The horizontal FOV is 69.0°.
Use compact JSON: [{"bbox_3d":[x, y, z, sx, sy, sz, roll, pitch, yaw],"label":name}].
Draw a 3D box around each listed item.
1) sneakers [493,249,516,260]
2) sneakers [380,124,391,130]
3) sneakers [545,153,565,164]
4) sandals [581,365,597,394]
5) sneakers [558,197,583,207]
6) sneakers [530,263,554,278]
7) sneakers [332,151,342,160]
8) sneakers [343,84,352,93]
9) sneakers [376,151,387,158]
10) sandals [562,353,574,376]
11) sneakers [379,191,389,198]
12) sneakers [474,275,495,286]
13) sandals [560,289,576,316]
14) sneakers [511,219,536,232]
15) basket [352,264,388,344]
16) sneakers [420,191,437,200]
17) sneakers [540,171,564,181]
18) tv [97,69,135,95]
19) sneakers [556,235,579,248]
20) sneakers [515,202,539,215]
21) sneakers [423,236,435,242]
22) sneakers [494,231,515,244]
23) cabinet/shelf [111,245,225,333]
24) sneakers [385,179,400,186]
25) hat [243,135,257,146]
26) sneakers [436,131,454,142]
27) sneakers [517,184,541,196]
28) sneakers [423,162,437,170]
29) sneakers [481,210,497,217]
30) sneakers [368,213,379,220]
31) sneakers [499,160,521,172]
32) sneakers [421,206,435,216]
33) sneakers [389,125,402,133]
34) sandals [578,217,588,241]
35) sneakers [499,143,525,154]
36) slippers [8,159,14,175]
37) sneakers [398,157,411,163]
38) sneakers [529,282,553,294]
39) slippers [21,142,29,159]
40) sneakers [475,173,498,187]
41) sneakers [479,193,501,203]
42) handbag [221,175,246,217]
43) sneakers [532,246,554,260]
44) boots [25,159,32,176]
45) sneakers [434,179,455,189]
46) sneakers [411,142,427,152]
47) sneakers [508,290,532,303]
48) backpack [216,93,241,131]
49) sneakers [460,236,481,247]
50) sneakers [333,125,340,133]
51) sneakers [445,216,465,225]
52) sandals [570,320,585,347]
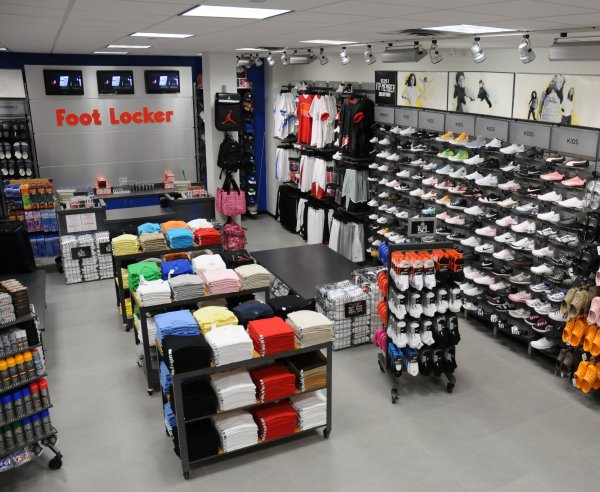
[{"bbox_3d":[3.046,0.129,6.520,0.118,0.110,0.227,-5,12,-27],"label":"sneakers"},{"bbox_3d":[1.663,-2.342,8.604,0.133,0.069,0.180,-2,13,-13],"label":"sneakers"},{"bbox_3d":[3.317,-1.150,5.725,0.106,0.085,0.197,-1,5,-4],"label":"sneakers"},{"bbox_3d":[3.444,1.583,5.194,0.134,0.376,0.142,12,10,41],"label":"sandals"},{"bbox_3d":[3.476,-0.553,5.578,0.132,0.137,0.314,-9,17,-24],"label":"sneakers"},{"bbox_3d":[3.304,0.333,5.988,0.240,0.112,0.133,2,9,3],"label":"sneakers"},{"bbox_3d":[0.781,-1.928,9.378,0.172,0.208,0.338,-2,16,0],"label":"sneakers"},{"bbox_3d":[0.983,-3.332,9.214,0.190,0.210,0.211,3,13,1],"label":"sneakers"},{"bbox_3d":[1.617,-1.823,8.647,0.109,0.097,0.201,-13,21,-33],"label":"sneakers"},{"bbox_3d":[3.356,1.477,5.479,0.116,0.290,0.093,7,2,-26],"label":"sandals"},{"bbox_3d":[1.630,-1.024,8.648,0.182,0.082,0.099,-5,6,-42],"label":"sneakers"},{"bbox_3d":[2.873,0.528,6.830,0.242,0.111,0.140,4,14,6],"label":"sneakers"},{"bbox_3d":[3.256,0.674,5.324,0.136,0.359,0.115,4,6,-44],"label":"sandals"},{"bbox_3d":[3.181,-0.291,6.203,0.140,0.121,0.268,-8,15,-27],"label":"sneakers"},{"bbox_3d":[0.971,0.873,6.155,0.552,1.013,1.033,-2,12,-4],"label":"basket"},{"bbox_3d":[2.291,-0.911,7.793,0.255,0.133,0.122,1,11,6],"label":"sneakers"},{"bbox_3d":[3.323,-0.918,5.775,0.270,0.132,0.159,6,17,28],"label":"sneakers"},{"bbox_3d":[-4.147,-3.672,9.786,0.744,0.525,0.152,-13,18,-33],"label":"tv"},{"bbox_3d":[3.456,-0.060,5.666,0.111,0.109,0.243,-7,17,-28],"label":"sneakers"},{"bbox_3d":[3.194,-0.536,6.218,0.117,0.155,0.322,-8,14,-31],"label":"sneakers"},{"bbox_3d":[1.598,-0.090,5.448,0.162,0.076,0.056,-1,13,-15],"label":"sneakers"},{"bbox_3d":[3.027,-0.126,6.490,0.240,0.116,0.135,-1,16,-8],"label":"sneakers"},{"bbox_3d":[-1.721,0.543,5.688,1.122,1.035,0.385,-8,18,-26],"label":"cabinet/shelf"},{"bbox_3d":[1.796,-1.237,8.545,0.112,0.098,0.188,-4,9,-30],"label":"sneakers"},{"bbox_3d":[-1.467,-2.960,12.284,0.491,0.335,0.281,0,5,-4],"label":"hat"},{"bbox_3d":[2.425,-1.835,7.329,0.143,0.109,0.248,-8,16,-30],"label":"sneakers"},{"bbox_3d":[3.217,-0.789,6.160,0.127,0.107,0.238,-9,18,-29],"label":"sneakers"},{"bbox_3d":[2.284,-1.414,7.733,0.226,0.104,0.098,2,13,2],"label":"sneakers"},{"bbox_3d":[2.902,-0.504,6.744,0.071,0.095,0.216,-4,16,-21],"label":"sneakers"},{"bbox_3d":[1.481,-0.607,8.932,0.131,0.091,0.116,-5,15,-20],"label":"sneakers"},{"bbox_3d":[3.068,-1.155,6.375,0.234,0.108,0.119,2,8,16],"label":"sneakers"},{"bbox_3d":[2.284,-0.628,7.820,0.108,0.131,0.273,-8,16,-35],"label":"sneakers"},{"bbox_3d":[1.825,-2.216,8.314,0.113,0.100,0.226,2,2,20],"label":"sneakers"},{"bbox_3d":[3.428,-0.195,5.289,0.075,0.237,0.090,-2,-19,34],"label":"sandals"},{"bbox_3d":[3.032,-1.389,6.254,0.225,0.103,0.117,9,16,33],"label":"sneakers"},{"bbox_3d":[-6.014,-1.638,9.084,0.140,0.278,0.093,-6,3,-23],"label":"slippers"},{"bbox_3d":[1.971,-1.636,8.288,0.131,0.065,0.192,-4,15,-12],"label":"sneakers"},{"bbox_3d":[3.310,0.592,6.028,0.176,0.135,0.248,-7,16,-16],"label":"sneakers"},{"bbox_3d":[-5.761,-1.997,9.120,0.118,0.324,0.122,-4,4,-24],"label":"slippers"},{"bbox_3d":[2.843,-1.009,6.692,0.156,0.132,0.273,-14,19,-39],"label":"sneakers"},{"bbox_3d":[2.879,-0.748,6.720,0.127,0.156,0.318,-10,18,-41],"label":"sneakers"},{"bbox_3d":[-1.554,-1.150,9.959,0.543,0.887,0.611,-7,-3,-24],"label":"handbag"},{"bbox_3d":[3.303,0.089,5.955,0.199,0.104,0.112,4,12,17],"label":"sneakers"},{"bbox_3d":[-5.752,-1.671,9.258,0.092,0.322,0.130,-8,7,-33],"label":"boots"},{"bbox_3d":[2.459,-1.060,7.509,0.121,0.152,0.318,-4,14,-21],"label":"sneakers"},{"bbox_3d":[2.133,-1.802,7.914,0.109,0.137,0.307,-7,16,-26],"label":"sneakers"},{"bbox_3d":[3.148,0.732,6.295,0.249,0.115,0.139,-2,14,-8],"label":"sneakers"},{"bbox_3d":[-1.510,-2.823,9.562,0.623,0.947,0.477,-4,-15,7],"label":"backpack"},{"bbox_3d":[2.752,-0.071,7.024,0.141,0.116,0.259,-7,13,-32],"label":"sneakers"},{"bbox_3d":[0.788,-2.531,9.444,0.089,0.134,0.272,-4,20,-7],"label":"sneakers"},{"bbox_3d":[2.567,-0.435,7.276,0.247,0.113,0.137,8,10,33],"label":"sneakers"},{"bbox_3d":[3.352,1.096,5.316,0.123,0.350,0.134,12,15,39],"label":"sandals"}]
